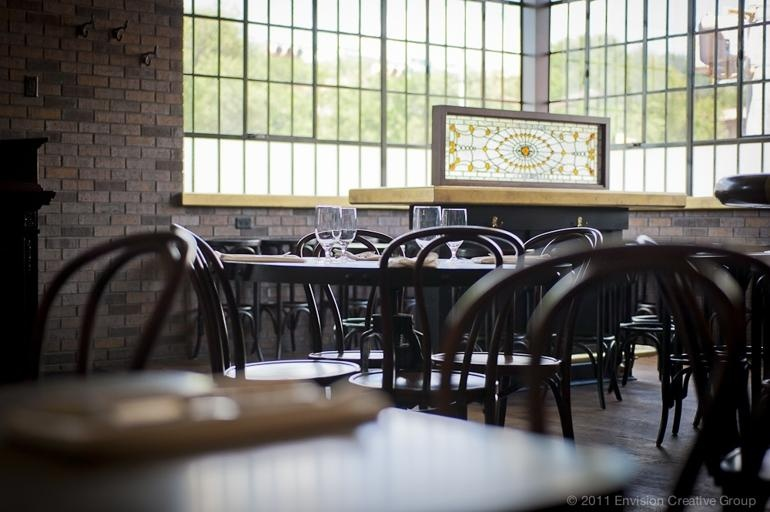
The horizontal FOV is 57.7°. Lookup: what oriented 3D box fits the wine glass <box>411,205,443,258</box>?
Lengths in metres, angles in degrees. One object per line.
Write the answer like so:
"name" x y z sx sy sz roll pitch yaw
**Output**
"wine glass" 0.158 -0.108 2.667 0.150 0.271 0.151 1 1 0
